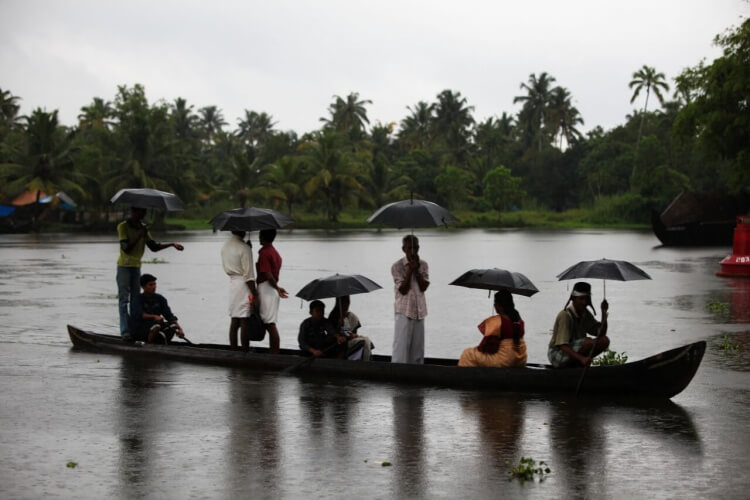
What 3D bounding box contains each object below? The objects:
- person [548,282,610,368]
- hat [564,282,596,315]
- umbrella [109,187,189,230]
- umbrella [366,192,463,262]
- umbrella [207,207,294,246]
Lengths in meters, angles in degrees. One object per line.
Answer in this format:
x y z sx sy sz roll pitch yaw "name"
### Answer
2.990 1.111 13.664 0.785 1.248 0.640 -2 7 -10 "person"
2.986 0.730 13.978 0.569 0.606 0.486 2 -2 19 "hat"
-3.863 -0.853 16.297 1.201 0.372 0.987 -1 6 -4 "umbrella"
0.595 -0.397 14.397 0.927 0.776 0.905 -3 6 -21 "umbrella"
-2.037 -0.474 15.377 1.217 0.404 0.766 -2 6 -11 "umbrella"
